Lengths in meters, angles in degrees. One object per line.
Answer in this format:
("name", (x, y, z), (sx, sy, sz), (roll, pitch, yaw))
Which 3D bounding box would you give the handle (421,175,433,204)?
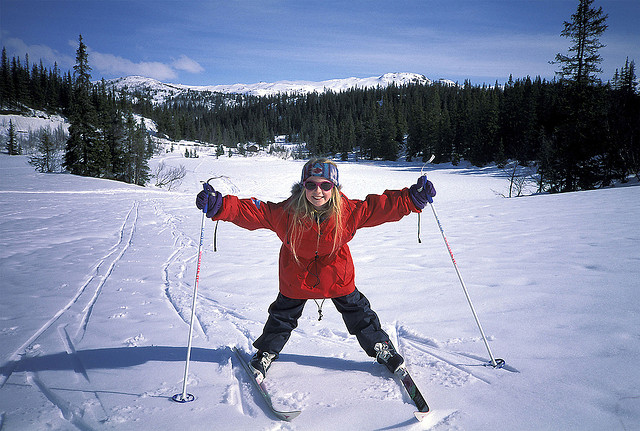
("handle", (1.848, -0.412, 7.873), (0.099, 0.625, 0.077), (-8, 2, -6))

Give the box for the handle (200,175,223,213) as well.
("handle", (-1.923, -0.349, 7.805), (0.251, 0.595, 0.303), (3, 7, 20))
